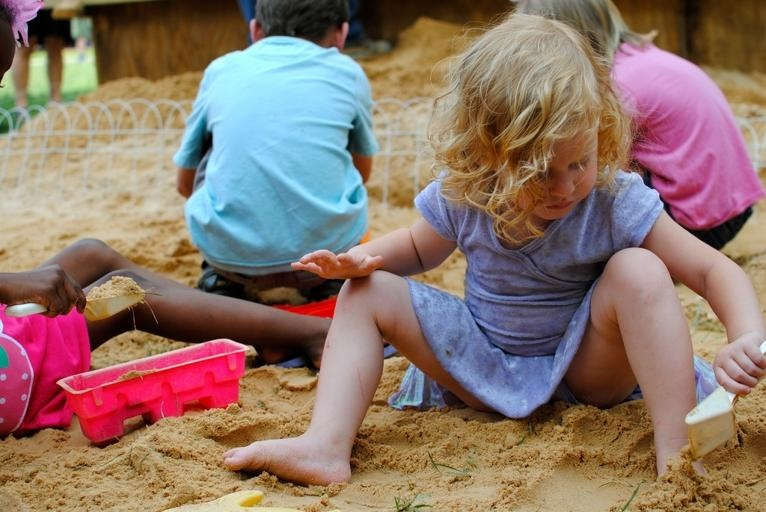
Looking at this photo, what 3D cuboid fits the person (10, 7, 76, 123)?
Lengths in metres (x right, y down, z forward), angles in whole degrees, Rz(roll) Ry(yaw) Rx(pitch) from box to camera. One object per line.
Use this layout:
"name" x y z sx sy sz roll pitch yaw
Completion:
"person" -2.915 -1.657 8.575 0.573 0.925 1.523 -10 24 -16

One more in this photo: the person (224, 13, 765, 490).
"person" 0.508 -0.042 3.685 1.692 1.465 0.824 -2 22 3
